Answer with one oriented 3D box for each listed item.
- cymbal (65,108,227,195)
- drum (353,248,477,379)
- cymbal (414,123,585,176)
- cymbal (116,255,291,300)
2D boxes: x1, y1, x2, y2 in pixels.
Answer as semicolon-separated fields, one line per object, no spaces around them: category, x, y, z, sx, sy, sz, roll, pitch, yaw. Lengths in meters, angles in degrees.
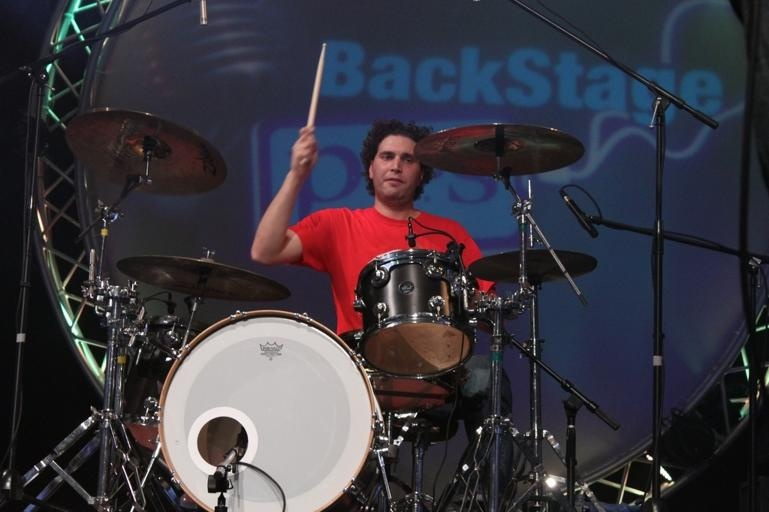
cymbal;-1.524;-0.670;6.585;0.682;0.167;0.669;26;-44;-22
drum;0.168;0.398;6.296;0.729;0.524;0.707;-2;-39;-1
cymbal;0.699;-0.652;6.384;1.006;0.078;0.969;6;-11;-23
cymbal;-1.145;0.161;6.599;1.073;0.205;0.557;7;-26;-10
